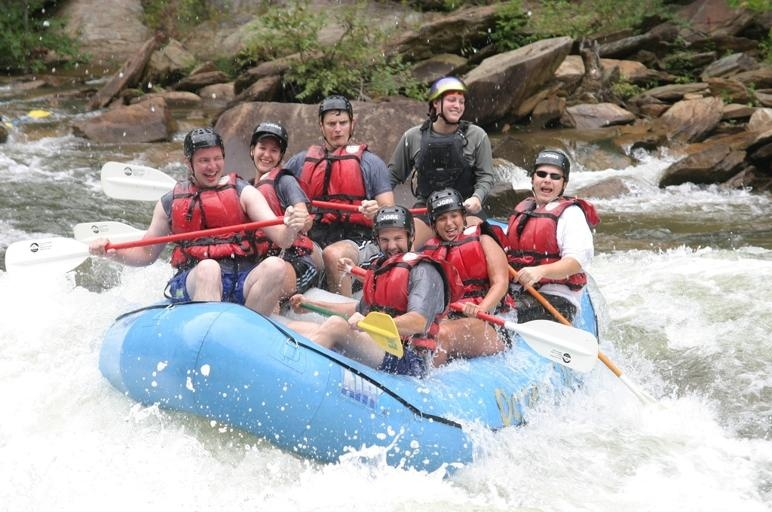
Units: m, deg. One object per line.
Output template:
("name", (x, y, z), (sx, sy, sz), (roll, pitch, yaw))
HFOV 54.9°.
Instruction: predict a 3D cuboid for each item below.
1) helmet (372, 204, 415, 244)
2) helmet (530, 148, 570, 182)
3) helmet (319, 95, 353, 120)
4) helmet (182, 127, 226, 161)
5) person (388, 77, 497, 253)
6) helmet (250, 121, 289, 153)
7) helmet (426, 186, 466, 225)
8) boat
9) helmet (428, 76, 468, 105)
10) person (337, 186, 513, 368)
("helmet", (0.025, -0.261, 6.562), (0.328, 0.403, 0.411), (-2, -9, 2))
("helmet", (1.601, -0.840, 7.279), (0.288, 0.396, 0.303), (9, 11, 8))
("helmet", (-0.502, -1.495, 7.471), (0.220, 0.303, 0.168), (0, 49, -3))
("helmet", (-1.658, -1.037, 6.687), (0.282, 0.261, 0.312), (-12, -16, -12))
("person", (0.484, -0.994, 8.039), (1.288, 1.804, 1.152), (5, 23, 19))
("helmet", (-1.128, -1.188, 7.253), (0.250, 0.358, 0.264), (5, 38, -4))
("helmet", (0.528, -0.458, 6.764), (0.249, 0.308, 0.317), (-18, 1, 1))
("boat", (-0.304, 1.166, 6.181), (2.527, 0.605, 1.709), (15, 1, -40))
("helmet", (0.615, -1.785, 7.829), (0.259, 0.165, 0.273), (3, -12, -44))
("person", (0.541, 0.191, 6.786), (1.203, 1.516, 1.027), (-10, 0, -2))
